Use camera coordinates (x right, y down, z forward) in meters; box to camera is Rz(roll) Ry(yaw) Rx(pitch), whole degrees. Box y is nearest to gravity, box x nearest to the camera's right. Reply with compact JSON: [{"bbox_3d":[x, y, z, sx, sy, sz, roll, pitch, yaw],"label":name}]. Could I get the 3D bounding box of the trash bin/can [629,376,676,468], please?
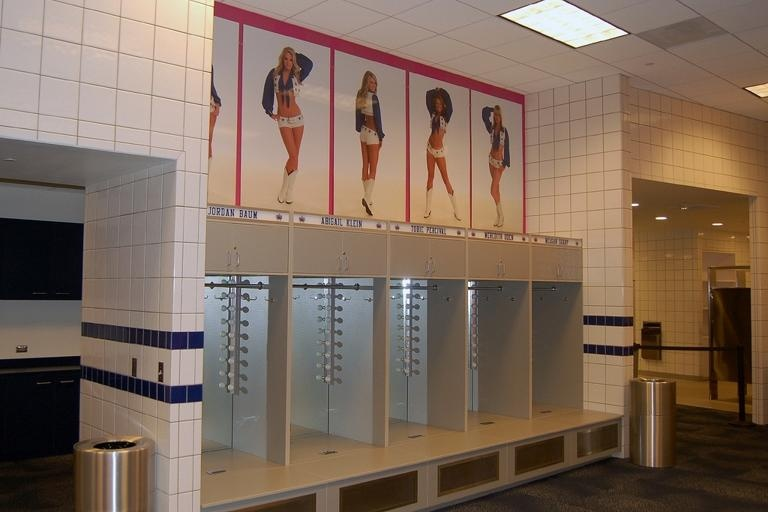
[{"bbox_3d":[3.897,2.429,8.917,0.608,1.202,0.266,-1,-2,21],"label":"trash bin/can"}]
